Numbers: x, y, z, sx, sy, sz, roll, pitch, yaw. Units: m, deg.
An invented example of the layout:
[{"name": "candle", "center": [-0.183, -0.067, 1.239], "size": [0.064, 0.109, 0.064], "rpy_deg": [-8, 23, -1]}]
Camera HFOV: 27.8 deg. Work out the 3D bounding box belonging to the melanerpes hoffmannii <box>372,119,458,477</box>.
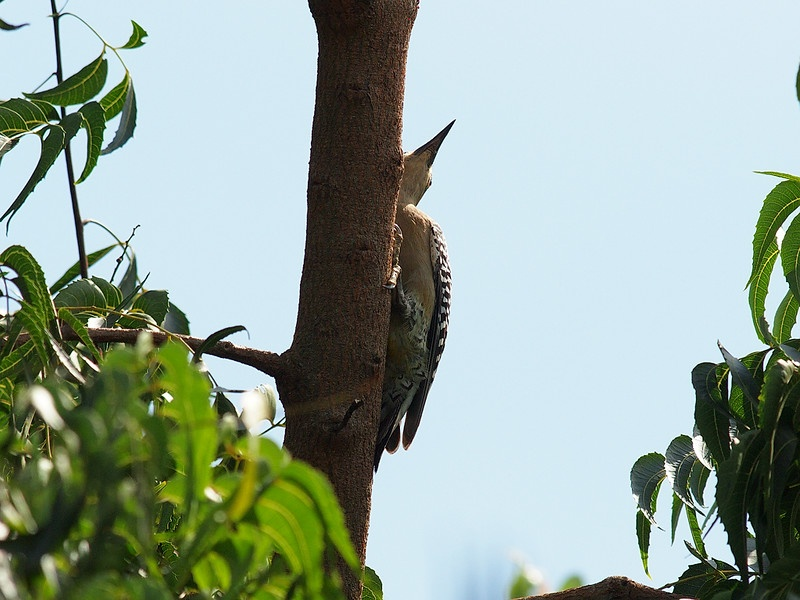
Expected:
[{"name": "melanerpes hoffmannii", "center": [-0.022, -0.039, 5.989], "size": [0.320, 1.302, 0.493], "rpy_deg": [5, -2, 23]}]
